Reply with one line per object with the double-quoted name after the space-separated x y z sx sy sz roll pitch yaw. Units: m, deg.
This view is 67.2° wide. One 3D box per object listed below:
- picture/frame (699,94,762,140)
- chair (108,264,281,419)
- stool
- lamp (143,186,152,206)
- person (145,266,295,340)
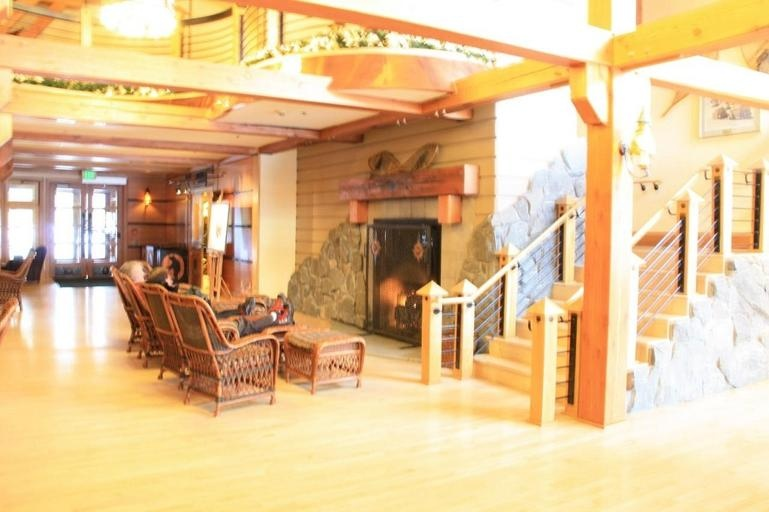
4.986 -1.992 8.290 0.056 0.529 0.753 1 -1 -40 "picture/frame"
-2.067 1.025 6.804 1.586 1.334 0.740 8 13 34 "chair"
-0.866 1.279 7.404 0.776 0.565 0.975 1 -2 -31 "stool"
-7.597 -1.871 18.500 0.267 0.570 0.118 -7 13 -34 "lamp"
-1.908 0.613 7.421 1.509 0.583 0.923 0 5 -35 "person"
